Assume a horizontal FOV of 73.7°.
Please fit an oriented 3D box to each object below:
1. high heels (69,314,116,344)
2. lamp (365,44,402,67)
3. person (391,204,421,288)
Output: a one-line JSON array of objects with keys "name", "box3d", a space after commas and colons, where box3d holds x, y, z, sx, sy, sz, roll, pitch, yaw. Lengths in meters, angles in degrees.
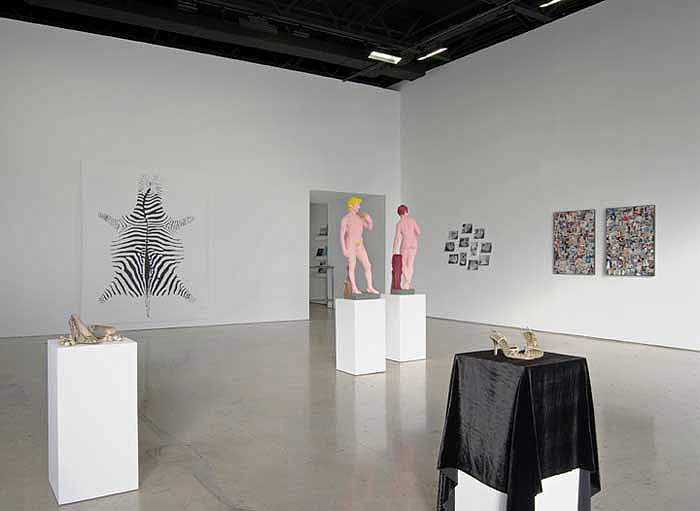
[{"name": "high heels", "box3d": [-2.122, 0.611, 3.747, 0.405, 0.189, 0.236, 0, 0, 36]}, {"name": "lamp", "box3d": [0.780, -4.592, 10.699, 0.772, 0.440, 1.144, -1, 2, -6]}, {"name": "person", "box3d": [0.962, -0.162, 8.087, 0.447, 1.477, 1.106, 0, 2, 5]}]
